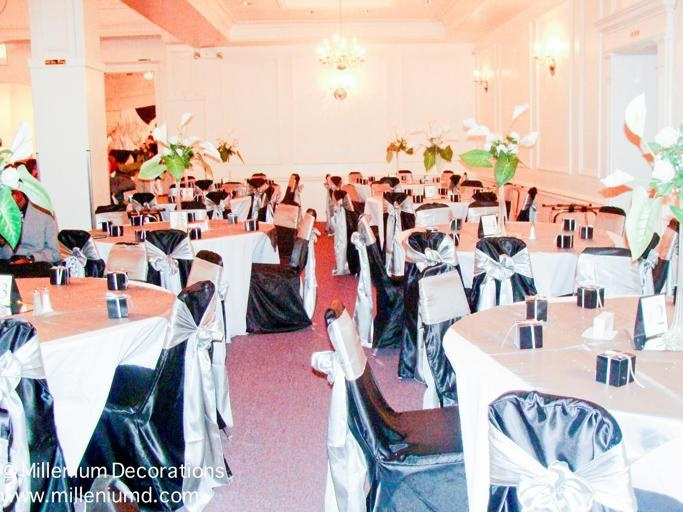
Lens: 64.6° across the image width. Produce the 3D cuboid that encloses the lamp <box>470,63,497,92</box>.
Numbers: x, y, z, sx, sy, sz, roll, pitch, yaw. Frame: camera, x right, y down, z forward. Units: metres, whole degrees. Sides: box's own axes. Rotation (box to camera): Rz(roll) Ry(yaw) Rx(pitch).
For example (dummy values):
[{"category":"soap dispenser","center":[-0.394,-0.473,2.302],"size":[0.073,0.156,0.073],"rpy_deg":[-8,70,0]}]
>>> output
[{"category":"lamp","center":[3.049,-3.872,11.563],"size":[0.245,0.815,0.825],"rpy_deg":[-3,16,-7]}]

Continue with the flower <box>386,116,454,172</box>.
[{"category":"flower","center":[1.843,-2.482,11.868],"size":[1.390,1.068,1.503],"rpy_deg":[-8,22,-7]}]

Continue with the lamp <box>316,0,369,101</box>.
[{"category":"lamp","center":[0.009,-4.498,11.535],"size":[0.781,2.297,0.842],"rpy_deg":[-7,26,-13]}]

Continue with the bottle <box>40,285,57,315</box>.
[{"category":"bottle","center":[-1.518,0.229,2.796],"size":[0.079,0.147,0.080],"rpy_deg":[1,17,0]}]

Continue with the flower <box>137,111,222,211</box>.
[{"category":"flower","center":[-1.405,-0.836,4.720],"size":[0.482,0.679,0.628],"rpy_deg":[-10,-13,36]}]

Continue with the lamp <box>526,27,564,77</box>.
[{"category":"lamp","center":[3.156,-3.074,8.321],"size":[0.180,0.623,0.635],"rpy_deg":[-20,25,-14]}]
